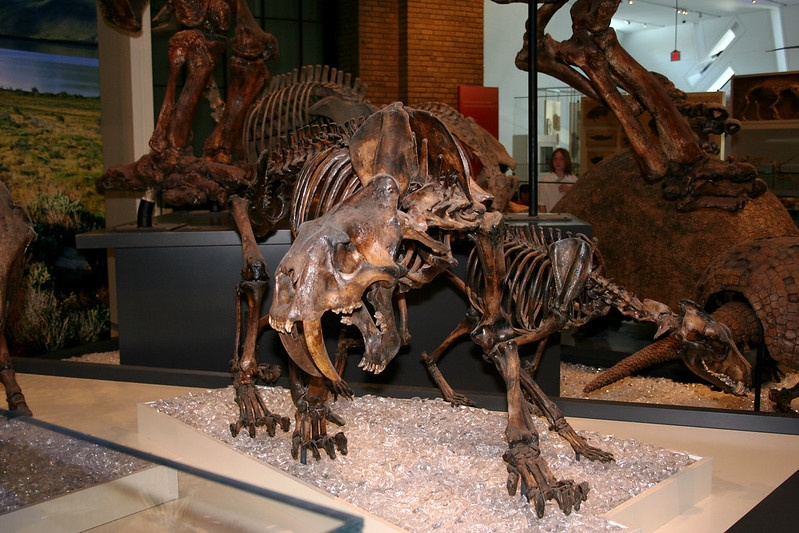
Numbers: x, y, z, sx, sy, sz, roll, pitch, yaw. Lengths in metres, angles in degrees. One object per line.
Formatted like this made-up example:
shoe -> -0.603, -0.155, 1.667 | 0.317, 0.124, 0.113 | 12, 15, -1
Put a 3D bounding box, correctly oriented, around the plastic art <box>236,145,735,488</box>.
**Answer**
plastic art -> 0.442, 0.258, 4.685 | 3.627, 2.229, 1.483 | 10, 12, 12
